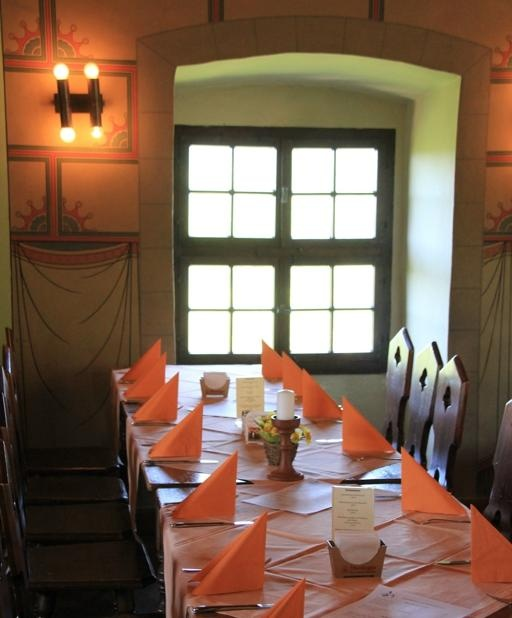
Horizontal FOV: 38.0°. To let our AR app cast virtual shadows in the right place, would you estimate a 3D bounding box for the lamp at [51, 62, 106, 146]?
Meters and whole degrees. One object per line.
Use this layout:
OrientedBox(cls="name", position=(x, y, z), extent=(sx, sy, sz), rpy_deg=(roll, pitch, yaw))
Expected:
OrientedBox(cls="lamp", position=(-0.849, -1.004, 3.595), extent=(0.219, 0.408, 0.084), rpy_deg=(-6, 33, -15))
